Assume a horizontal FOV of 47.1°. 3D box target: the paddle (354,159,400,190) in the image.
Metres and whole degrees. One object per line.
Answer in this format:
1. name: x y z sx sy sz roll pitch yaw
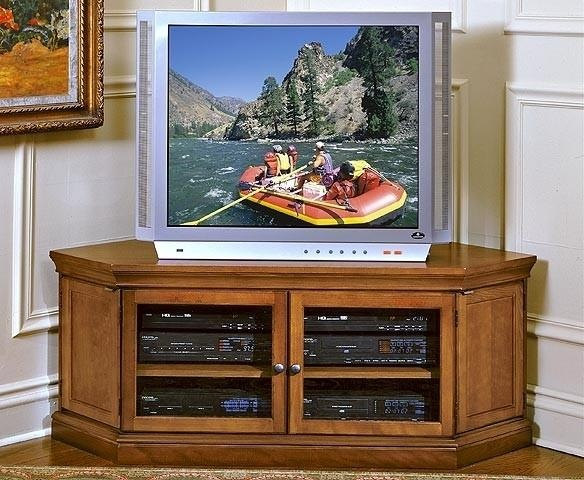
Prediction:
1. paddle: 0.294 -0.214 2.372 0.146 0.048 0.097 21 26 -9

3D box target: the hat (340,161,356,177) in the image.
1. hat: 0.195 -0.247 2.342 0.056 0.046 0.082 5 -4 -9

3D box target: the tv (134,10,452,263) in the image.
1. tv: 0.033 -0.386 2.341 1.088 0.645 0.108 0 2 2
